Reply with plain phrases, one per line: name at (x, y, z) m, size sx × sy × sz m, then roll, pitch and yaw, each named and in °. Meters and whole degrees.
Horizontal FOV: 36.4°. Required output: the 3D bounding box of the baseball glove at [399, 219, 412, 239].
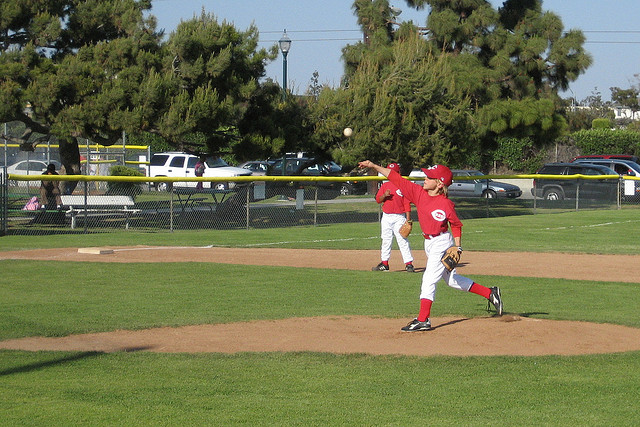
baseball glove at (1.989, 0.268, 22.247) m, size 0.290 × 0.474 × 0.111 m, roll 29°, pitch -37°, yaw -11°

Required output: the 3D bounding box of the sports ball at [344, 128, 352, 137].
sports ball at (1.127, -3.082, 36.561) m, size 0.258 × 0.157 × 0.264 m, roll 0°, pitch 14°, yaw 0°

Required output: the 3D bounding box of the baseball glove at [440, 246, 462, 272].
baseball glove at (2.698, 0.904, 19.996) m, size 0.381 × 0.510 × 0.169 m, roll 43°, pitch -14°, yaw -8°

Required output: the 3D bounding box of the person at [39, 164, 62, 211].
person at (-9.255, -1.051, 33.376) m, size 0.643 × 1.397 × 3.853 m, roll -4°, pitch 14°, yaw -15°
